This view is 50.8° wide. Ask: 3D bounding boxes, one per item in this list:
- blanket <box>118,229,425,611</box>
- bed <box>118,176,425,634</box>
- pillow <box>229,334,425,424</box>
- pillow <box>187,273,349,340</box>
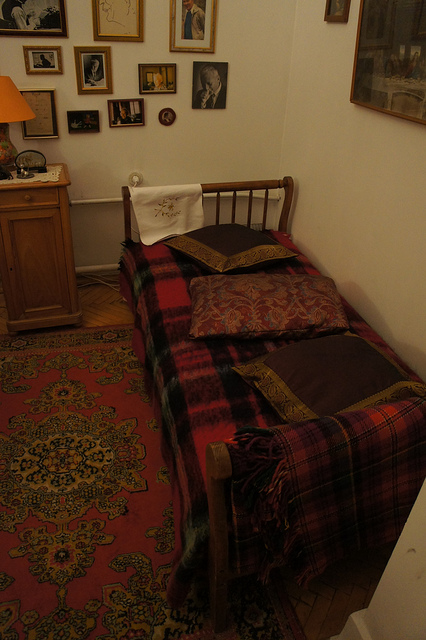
[{"bbox_3d":[0.043,0.215,1.667,0.795,0.319,1.330,-13,49,-11],"label":"blanket"},{"bbox_3d":[0.103,0.062,2.012,1.121,0.831,1.906,-11,51,-9],"label":"bed"},{"bbox_3d":[0.409,0.188,1.516,0.364,0.110,0.360,-14,22,-32],"label":"pillow"},{"bbox_3d":[0.270,-0.032,2.437,0.682,0.353,1.256,-1,10,0],"label":"pillow"}]
